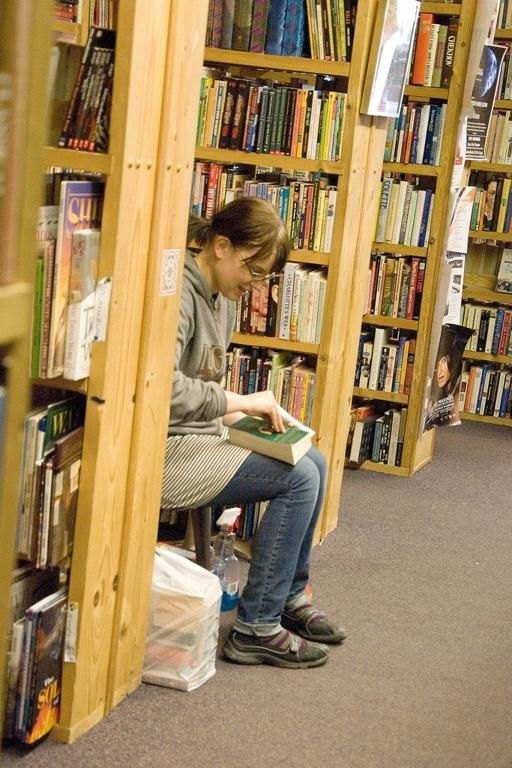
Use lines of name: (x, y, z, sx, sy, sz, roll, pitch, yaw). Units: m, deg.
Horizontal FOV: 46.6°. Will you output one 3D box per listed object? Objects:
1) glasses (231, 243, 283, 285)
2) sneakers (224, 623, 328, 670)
glasses: (0.002, -0.450, 2.144, 0.122, 0.041, 0.118, 47, 20, 24)
sneakers: (0.061, 0.957, 2.225, 0.427, 0.207, 0.150, 2, 4, -4)
